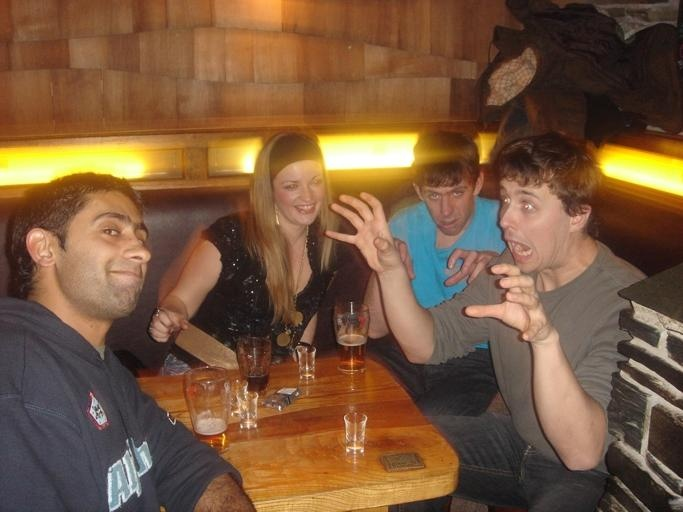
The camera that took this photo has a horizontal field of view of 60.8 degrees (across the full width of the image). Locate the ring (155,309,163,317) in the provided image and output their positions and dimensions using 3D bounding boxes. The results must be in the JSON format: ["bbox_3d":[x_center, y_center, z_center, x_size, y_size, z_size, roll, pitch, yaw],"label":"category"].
[{"bbox_3d":[-0.786,0.239,2.499,0.028,0.020,0.027,1,-8,0],"label":"ring"}]
